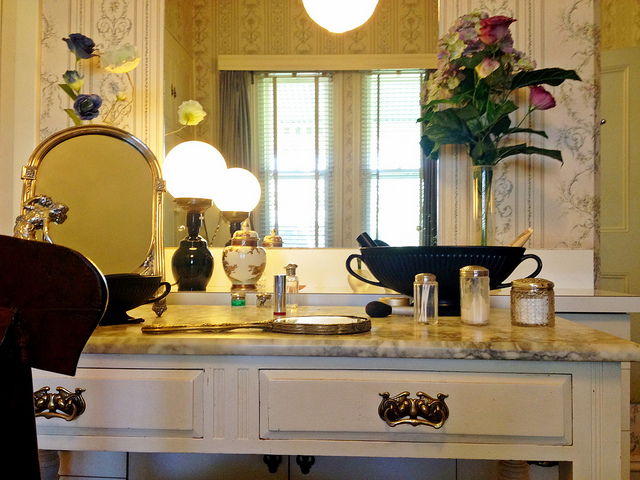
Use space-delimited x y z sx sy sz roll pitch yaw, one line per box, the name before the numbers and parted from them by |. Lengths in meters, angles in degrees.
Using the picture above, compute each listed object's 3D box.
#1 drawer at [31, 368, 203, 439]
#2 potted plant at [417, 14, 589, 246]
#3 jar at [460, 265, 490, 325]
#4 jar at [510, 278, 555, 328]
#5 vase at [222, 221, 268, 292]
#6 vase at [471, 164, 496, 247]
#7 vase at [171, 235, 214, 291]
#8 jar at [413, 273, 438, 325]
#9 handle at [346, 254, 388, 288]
drawer | -0.506 0.435 2.081 0.602 0.202 0.417 -2 -8 7
potted plant | 0.586 -0.330 2.524 0.538 0.770 0.434 -2 11 -1
jar | 0.415 0.143 2.053 0.082 0.157 0.084 -1 2 0
jar | 0.565 0.160 2.035 0.112 0.127 0.112 -1 6 0
vase | -0.244 0.054 2.457 0.113 0.210 0.093 1 2 31
vase | 0.532 -0.115 2.500 0.068 0.258 0.046 0 2 10
vase | -0.421 0.076 2.540 0.136 0.174 0.141 -6 -4 32
jar | 0.285 0.155 2.058 0.062 0.132 0.085 0 1 8
handle | 0.136 0.089 2.256 0.116 0.094 0.153 0 1 -8
